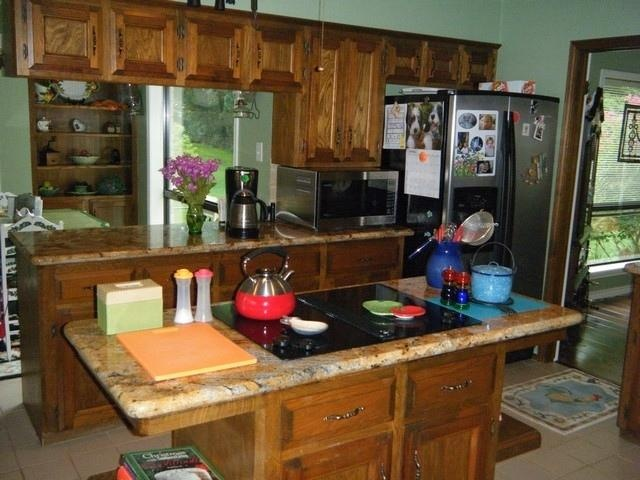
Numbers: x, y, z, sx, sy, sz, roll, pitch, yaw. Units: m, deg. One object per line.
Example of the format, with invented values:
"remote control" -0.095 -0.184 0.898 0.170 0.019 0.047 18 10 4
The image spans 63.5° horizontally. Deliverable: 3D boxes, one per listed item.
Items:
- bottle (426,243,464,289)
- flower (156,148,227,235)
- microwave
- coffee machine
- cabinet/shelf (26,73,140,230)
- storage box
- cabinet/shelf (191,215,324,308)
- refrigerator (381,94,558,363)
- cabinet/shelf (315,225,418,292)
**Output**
"bottle" 0.650 0.106 2.702 0.174 0.243 0.165 2 13 0
"flower" -0.899 -0.299 3.668 0.391 0.519 0.412 -5 -1 17
"microwave" 0.079 -0.402 4.226 0.960 0.494 0.646 -4 13 -28
"coffee machine" -0.540 -0.264 3.674 0.340 0.478 0.310 2 10 -3
"cabinet/shelf" -3.132 -1.205 7.048 1.419 1.904 0.387 -8 18 -39
"storage box" -0.739 0.239 2.073 0.340 0.218 0.181 -5 10 -31
"cabinet/shelf" -0.230 0.126 3.433 0.799 0.594 0.562 -3 8 -40
"refrigerator" 1.252 -0.229 4.387 1.177 1.793 0.926 -5 9 -35
"cabinet/shelf" 0.274 0.112 4.072 0.757 0.433 0.534 -5 15 -34
